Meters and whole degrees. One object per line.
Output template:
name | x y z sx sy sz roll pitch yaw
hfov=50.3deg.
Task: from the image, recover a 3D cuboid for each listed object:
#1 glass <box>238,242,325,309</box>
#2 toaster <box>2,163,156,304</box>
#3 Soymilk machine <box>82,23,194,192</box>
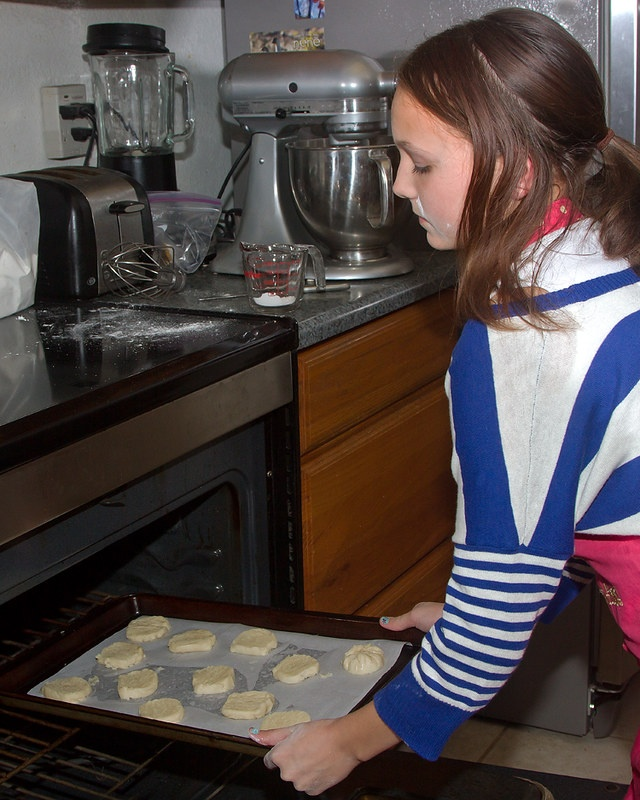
glass | -0.055 -0.214 1.164 0.106 0.105 0.165 11 15 35
toaster | -0.438 -0.309 1.215 0.237 0.175 0.255 24 31 31
Soymilk machine | -0.408 -0.658 1.544 0.218 0.369 0.357 -3 15 2
